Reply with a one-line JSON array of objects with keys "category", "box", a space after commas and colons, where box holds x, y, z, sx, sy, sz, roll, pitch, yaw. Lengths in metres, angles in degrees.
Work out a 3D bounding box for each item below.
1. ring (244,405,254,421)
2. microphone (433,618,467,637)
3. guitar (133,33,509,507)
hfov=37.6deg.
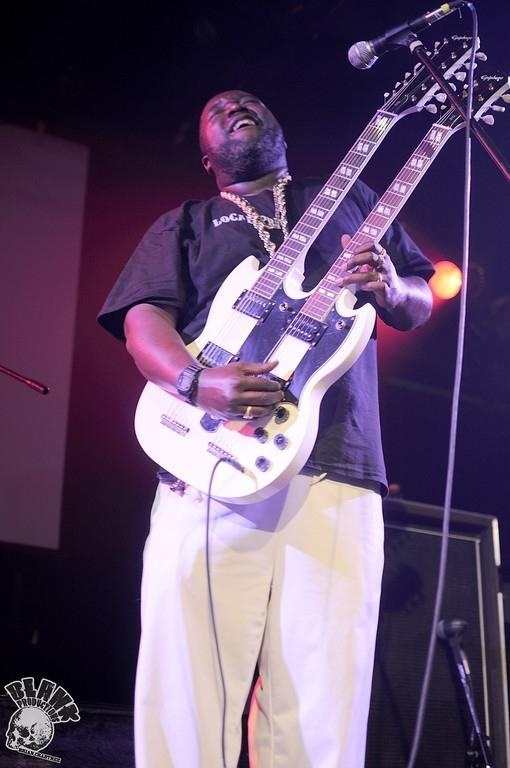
[{"category": "ring", "box": [-0.019, 0.073, 1.899, 0.021, 0.034, 0.008, 10, -13, 9]}, {"category": "microphone", "box": [0.631, 0.800, 2.429, 0.079, 0.078, 0.061, 6, -7, 17]}, {"category": "guitar", "box": [0.539, -0.392, 2.421, 0.740, 1.944, 0.280, 34, -9, 34]}]
